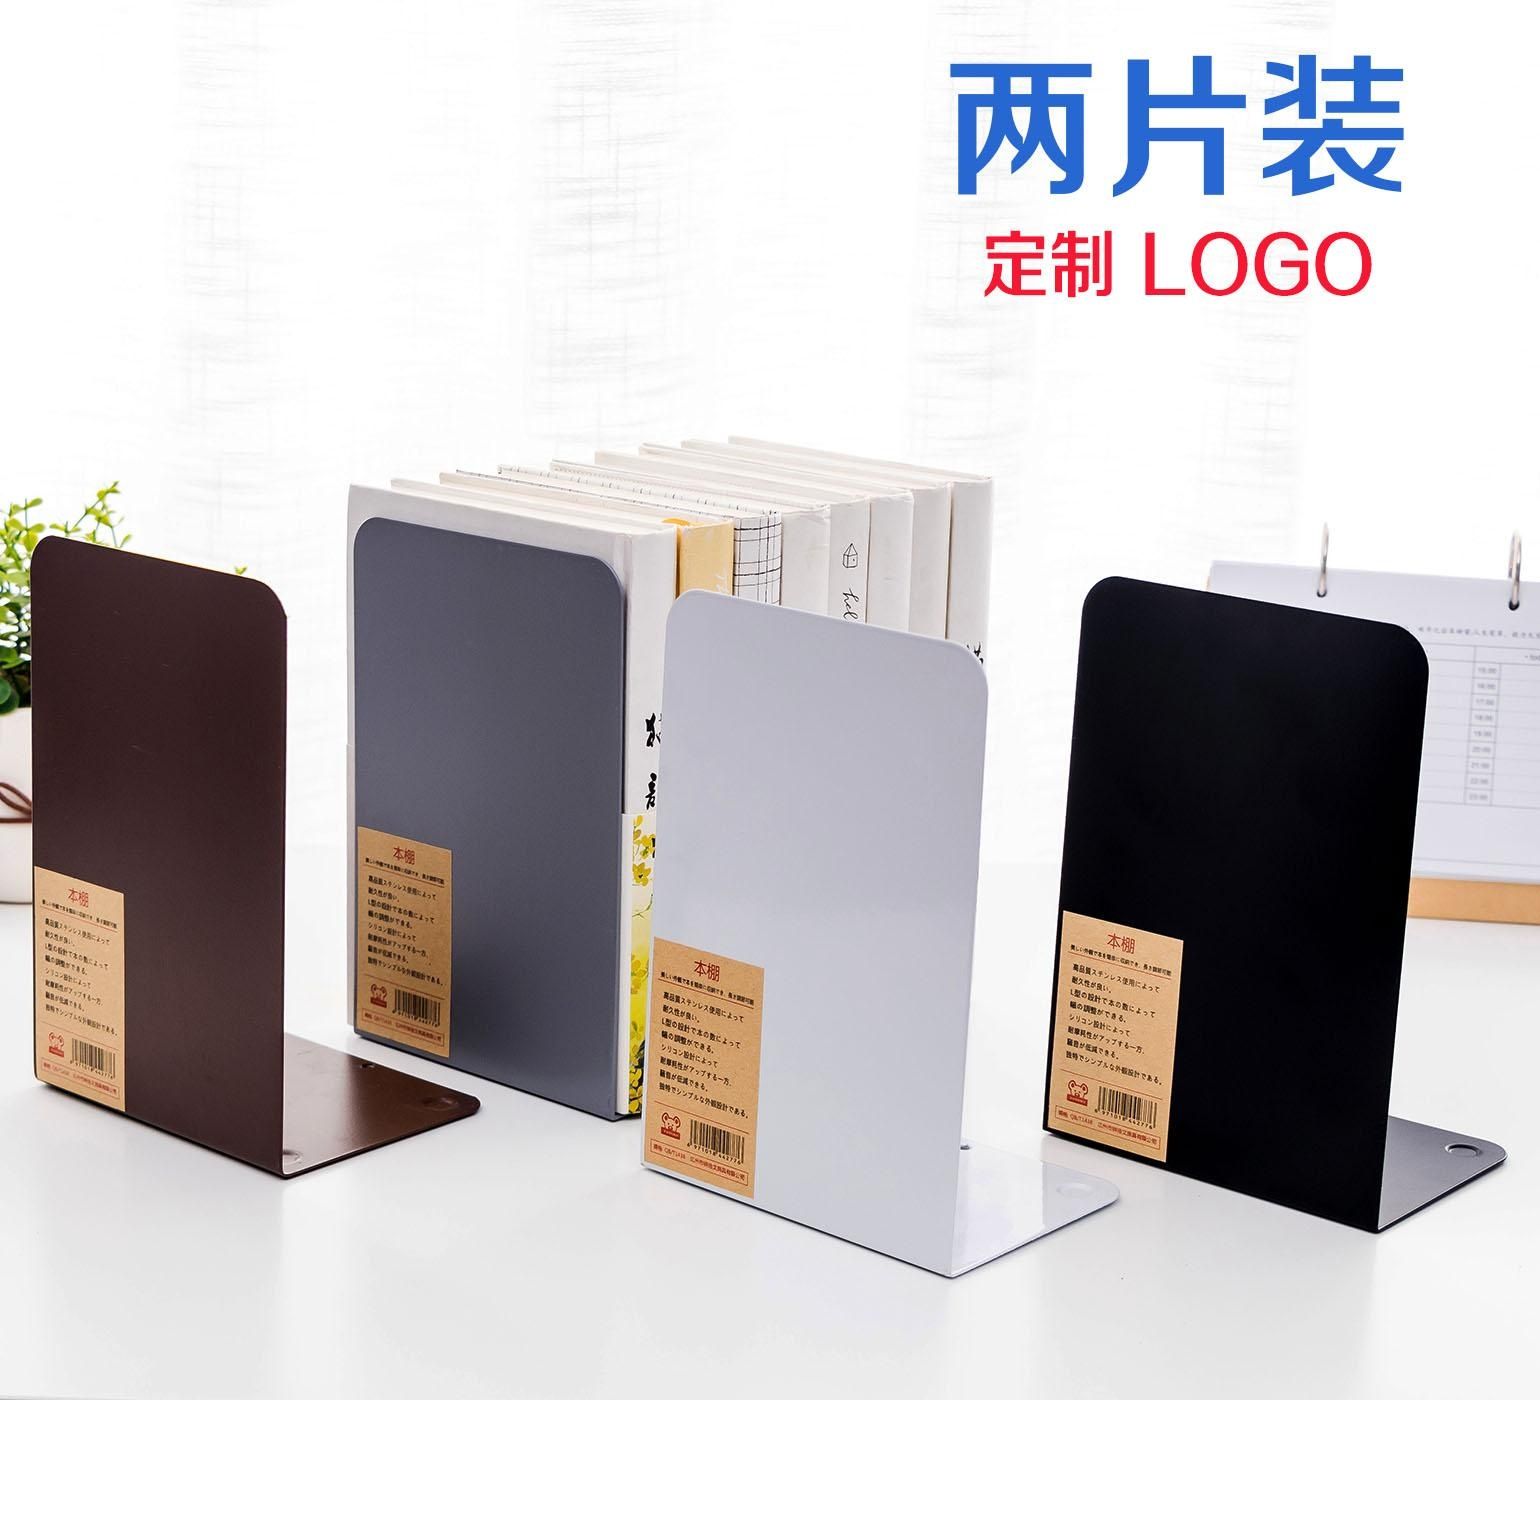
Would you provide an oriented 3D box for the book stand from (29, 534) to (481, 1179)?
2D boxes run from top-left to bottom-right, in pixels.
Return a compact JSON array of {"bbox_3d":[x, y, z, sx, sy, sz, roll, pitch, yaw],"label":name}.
[{"bbox_3d":[-0.296,0.035,0.938,0.254,0.329,0.147,9,13,36],"label":"book stand"}]

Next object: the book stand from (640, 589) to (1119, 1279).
[{"bbox_3d":[0.042,0.074,0.813,0.233,0.313,0.107,6,12,24],"label":"book stand"}]

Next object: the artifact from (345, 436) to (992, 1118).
[{"bbox_3d":[-0.121,0.007,1.074,0.297,0.336,0.226,8,9,32],"label":"artifact"}]

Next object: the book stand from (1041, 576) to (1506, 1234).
[{"bbox_3d":[0.285,0.020,0.881,0.167,0.272,0.141,11,30,31],"label":"book stand"}]
